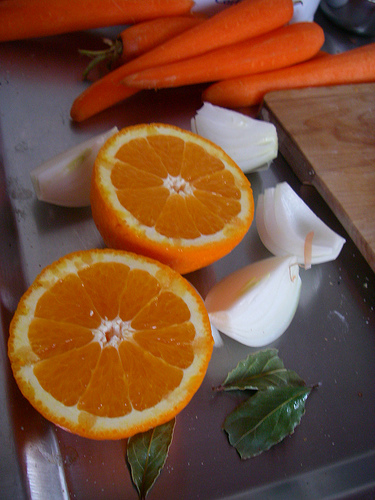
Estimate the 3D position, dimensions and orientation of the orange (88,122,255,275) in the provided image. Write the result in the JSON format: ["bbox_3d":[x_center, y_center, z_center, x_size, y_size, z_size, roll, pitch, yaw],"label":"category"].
[{"bbox_3d":[0.005,-0.121,0.740,0.215,0.169,0.221,27,34,28],"label":"orange"}]

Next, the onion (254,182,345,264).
[{"bbox_3d":[0.175,-0.014,0.767,0.145,0.044,0.183,12,69,-28],"label":"onion"}]

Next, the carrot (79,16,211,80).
[{"bbox_3d":[-0.097,-0.401,0.921,0.203,0.062,0.095,-13,96,27],"label":"carrot"}]
